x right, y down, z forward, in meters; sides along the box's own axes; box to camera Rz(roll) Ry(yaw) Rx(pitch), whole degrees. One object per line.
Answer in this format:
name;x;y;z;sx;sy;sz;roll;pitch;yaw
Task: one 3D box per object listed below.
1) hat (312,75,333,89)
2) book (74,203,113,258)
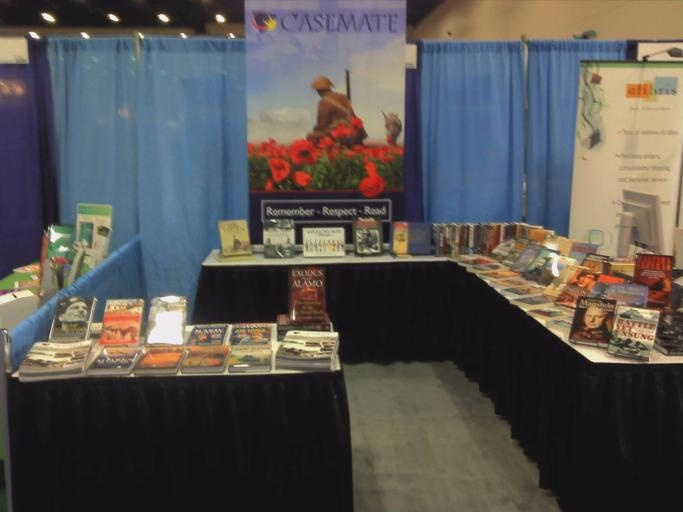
hat;-0.172;-1.484;4.911;0.120;0.053;0.118;-23;59;-15
book;-2.145;-0.166;4.745;0.058;0.544;0.312;22;12;35
